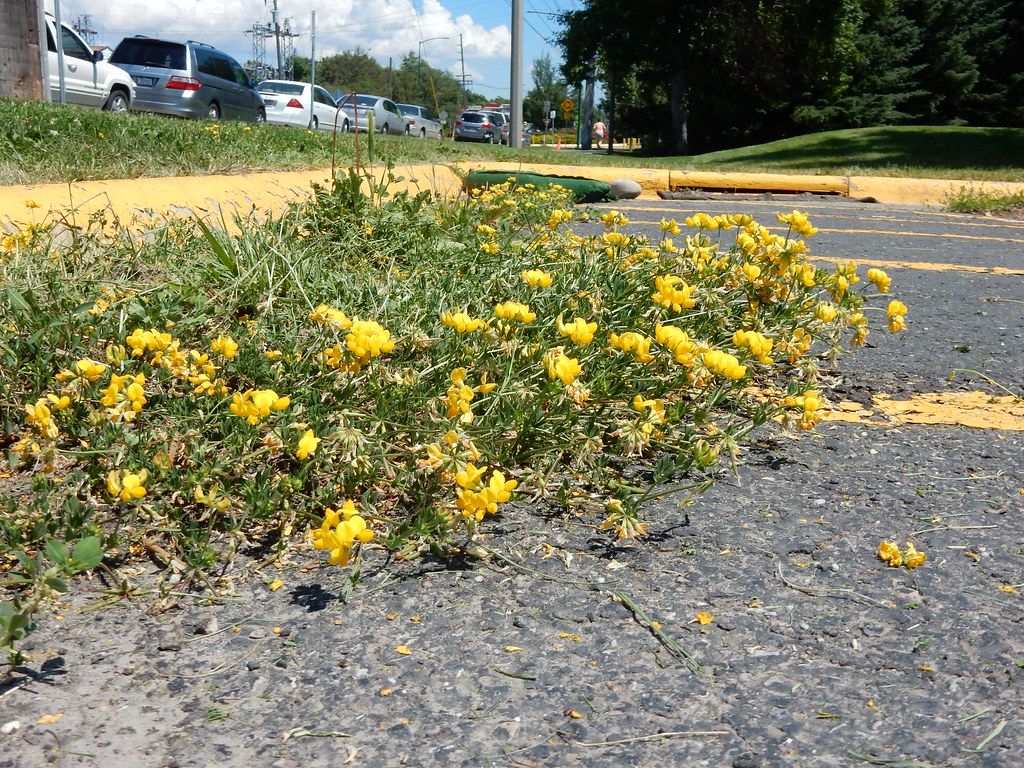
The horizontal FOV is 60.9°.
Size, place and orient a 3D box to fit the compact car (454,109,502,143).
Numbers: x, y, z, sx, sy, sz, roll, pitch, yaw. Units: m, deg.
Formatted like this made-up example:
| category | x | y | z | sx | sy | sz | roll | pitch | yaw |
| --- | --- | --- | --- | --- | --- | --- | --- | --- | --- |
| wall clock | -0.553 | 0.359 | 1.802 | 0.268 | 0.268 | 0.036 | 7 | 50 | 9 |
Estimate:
| category | x | y | z | sx | sy | sz | roll | pitch | yaw |
| --- | --- | --- | --- | --- | --- | --- | --- | --- | --- |
| compact car | -1.429 | -10.405 | 35.289 | 1.776 | 1.094 | 3.192 | 8 | 23 | 13 |

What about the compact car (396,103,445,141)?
| category | x | y | z | sx | sy | sz | roll | pitch | yaw |
| --- | --- | --- | --- | --- | --- | --- | --- | --- | --- |
| compact car | -3.108 | -8.256 | 27.573 | 1.394 | 0.846 | 2.996 | 4 | 21 | 8 |

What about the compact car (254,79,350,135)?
| category | x | y | z | sx | sy | sz | roll | pitch | yaw |
| --- | --- | --- | --- | --- | --- | --- | --- | --- | --- |
| compact car | -4.576 | -6.148 | 19.313 | 1.395 | 1.058 | 2.831 | -2 | 17 | -3 |
